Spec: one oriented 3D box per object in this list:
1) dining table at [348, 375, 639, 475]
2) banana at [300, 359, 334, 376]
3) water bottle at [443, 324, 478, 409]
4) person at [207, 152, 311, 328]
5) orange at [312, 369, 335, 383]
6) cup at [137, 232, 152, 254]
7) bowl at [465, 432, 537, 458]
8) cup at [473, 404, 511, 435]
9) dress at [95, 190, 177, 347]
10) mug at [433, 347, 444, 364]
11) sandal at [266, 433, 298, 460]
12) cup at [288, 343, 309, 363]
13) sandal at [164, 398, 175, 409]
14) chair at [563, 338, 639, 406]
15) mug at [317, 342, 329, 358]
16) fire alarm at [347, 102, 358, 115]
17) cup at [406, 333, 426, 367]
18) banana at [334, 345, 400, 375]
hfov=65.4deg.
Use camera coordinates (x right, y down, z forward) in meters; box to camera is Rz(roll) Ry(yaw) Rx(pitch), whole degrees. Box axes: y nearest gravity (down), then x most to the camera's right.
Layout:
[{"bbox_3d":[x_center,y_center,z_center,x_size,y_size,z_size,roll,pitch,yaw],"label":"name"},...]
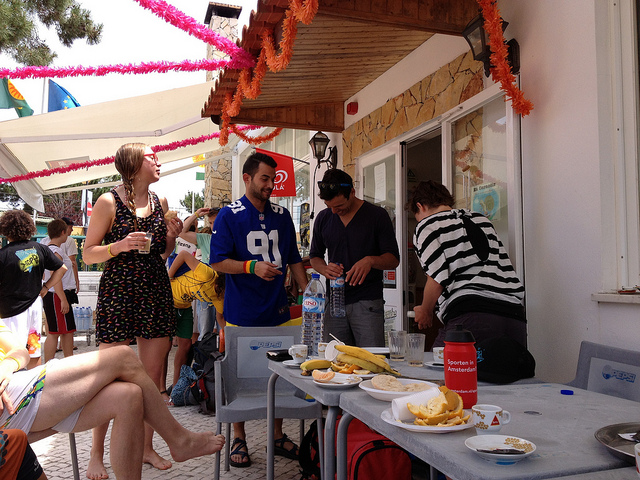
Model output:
[{"bbox_3d":[0.705,0.650,1.846,1.079,0.212,0.665,-2,-3,-12],"label":"dining table"},{"bbox_3d":[-0.025,0.645,2.523,0.172,0.058,0.050,0,-13,-40],"label":"banana"},{"bbox_3d":[0.546,0.505,1.950,0.123,0.301,0.078,-3,-3,13],"label":"water bottle"},{"bbox_3d":[-0.533,-0.011,4.092,0.745,1.354,1.119,-2,-3,-13],"label":"person"},{"bbox_3d":[0.009,0.643,2.348,0.095,0.035,0.132,-2,-3,-20],"label":"orange"},{"bbox_3d":[-1.210,0.025,3.412,0.083,0.138,0.220,-1,-3,-20],"label":"cup"},{"bbox_3d":[0.571,0.661,1.592,0.208,0.040,0.126,-3,-3,21],"label":"bowl"},{"bbox_3d":[0.602,0.631,1.735,0.129,0.096,0.088,-5,-6,8],"label":"cup"},{"bbox_3d":[-1.308,0.174,3.538,0.531,1.083,0.244,-1,-3,-26],"label":"dress"},{"bbox_3d":[0.647,0.635,2.755,0.088,0.080,0.098,0,-7,1],"label":"mug"},{"bbox_3d":[-0.307,1.643,3.950,0.261,0.135,0.115,0,0,42],"label":"sandal"},{"bbox_3d":[-0.131,0.638,2.803,0.081,0.097,0.131,1,2,8],"label":"cup"},{"bbox_3d":[-1.641,1.762,5.407,0.074,0.078,0.198,-1,-3,-26],"label":"sandal"},{"bbox_3d":[1.463,0.674,2.586,0.205,0.277,0.388,13,-4,-16],"label":"chair"},{"bbox_3d":[0.012,0.620,2.785,0.033,0.076,0.080,1,-4,-45],"label":"mug"},{"bbox_3d":[0.413,-1.745,6.624,0.060,0.165,0.251,-1,-3,-19],"label":"fire alarm"},{"bbox_3d":[0.511,0.613,2.755,0.149,0.216,0.141,1,-12,0],"label":"cup"},{"bbox_3d":[0.223,0.605,2.515,0.351,0.128,0.061,-4,-3,31],"label":"banana"}]
